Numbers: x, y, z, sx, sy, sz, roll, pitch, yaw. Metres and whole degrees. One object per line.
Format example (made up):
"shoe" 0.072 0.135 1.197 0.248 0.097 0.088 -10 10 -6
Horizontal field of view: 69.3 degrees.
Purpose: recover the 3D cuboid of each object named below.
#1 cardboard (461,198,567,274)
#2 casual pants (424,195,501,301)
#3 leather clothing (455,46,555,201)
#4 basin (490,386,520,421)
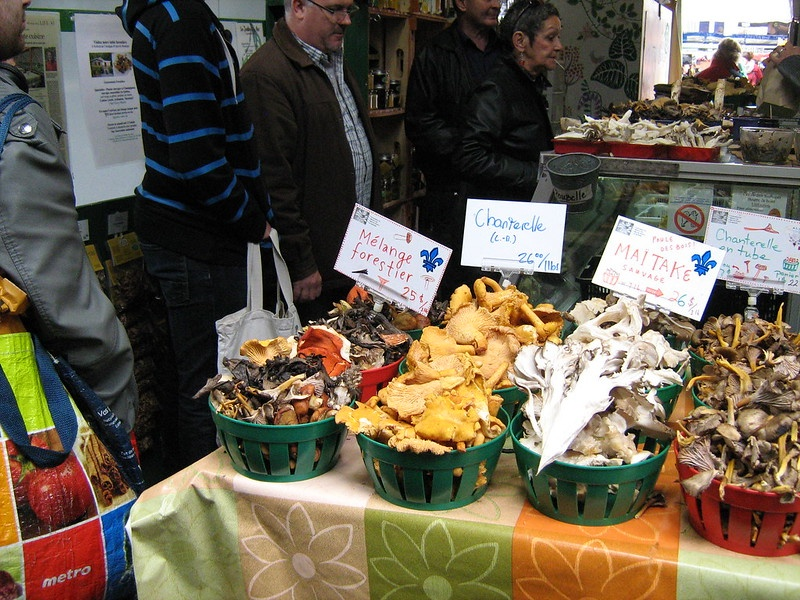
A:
"cardboard" 0.414 -0.233 2.091 0.257 0.198 0.012 6 3 20
"casual pants" 0.489 -0.508 4.621 0.171 0.707 0.742 -1 23 -34
"leather clothing" 0.653 -1.106 3.647 0.588 0.981 1.122 9 26 20
"basin" 0.314 0.288 1.692 0.090 0.074 0.093 -1 14 0
